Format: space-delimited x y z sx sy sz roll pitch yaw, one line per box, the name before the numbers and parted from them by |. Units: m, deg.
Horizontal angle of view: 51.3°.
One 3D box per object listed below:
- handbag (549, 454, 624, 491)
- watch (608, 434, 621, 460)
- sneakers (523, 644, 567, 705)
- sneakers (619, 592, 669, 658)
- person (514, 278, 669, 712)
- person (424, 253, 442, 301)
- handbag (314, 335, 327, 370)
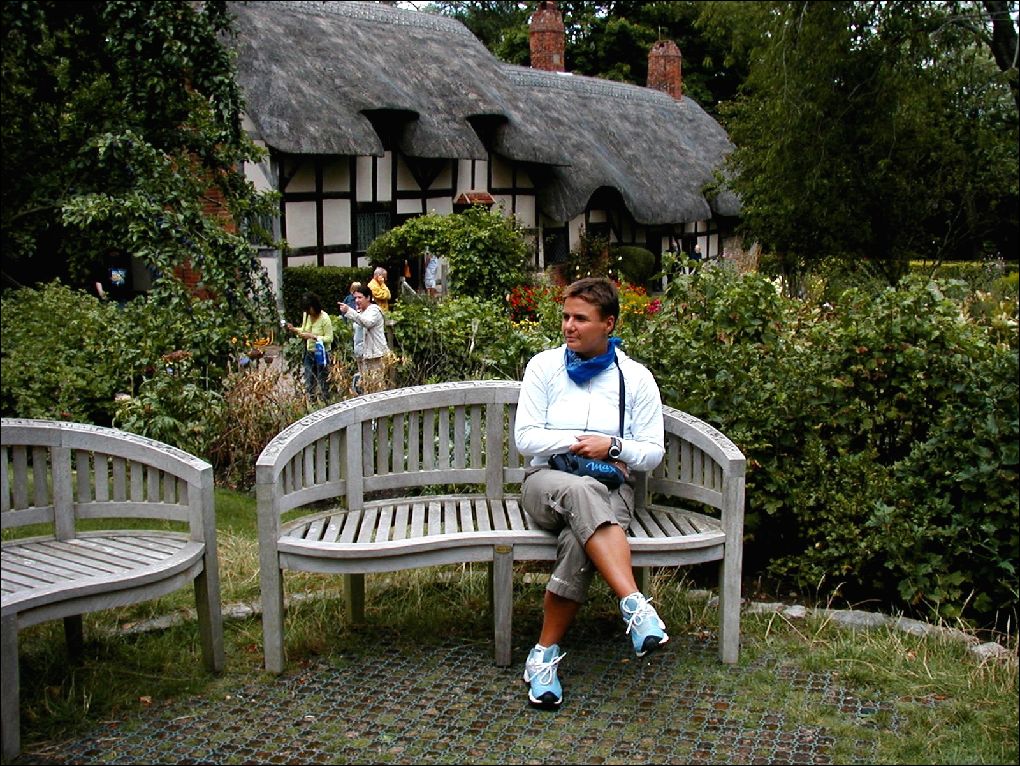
handbag | 0.390 0.416 5.247 0.269 0.117 0.172 23 12 4
watch | 0.516 0.316 5.236 0.053 0.104 0.087 0 4 -3
sneakers | 0.171 1.332 4.832 0.106 0.164 0.303 2 -1 -6
sneakers | 0.580 1.059 4.788 0.153 0.166 0.340 -32 20 2
person | 0.374 0.456 5.141 0.733 1.906 0.915 0 6 9
person | -1.222 -1.779 17.001 0.274 0.640 1.140 -1 7 -4
handbag | -2.003 -0.311 11.303 0.111 0.340 0.219 -4 7 -29
